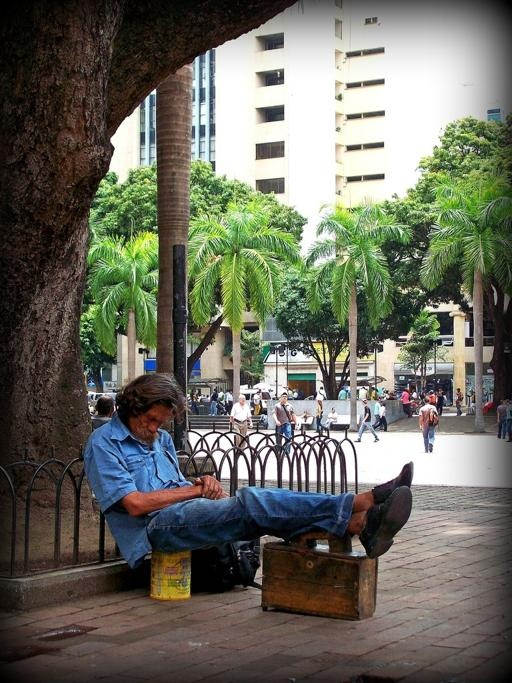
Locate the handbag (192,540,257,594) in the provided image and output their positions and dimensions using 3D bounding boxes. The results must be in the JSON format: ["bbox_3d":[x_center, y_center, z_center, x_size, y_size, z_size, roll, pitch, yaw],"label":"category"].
[{"bbox_3d":[-0.206,1.314,5.537,0.267,0.176,0.366,5,-9,-27],"label":"handbag"}]

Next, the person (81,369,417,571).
[{"bbox_3d":[-0.041,0.641,5.101,1.769,1.251,0.890,1,0,12],"label":"person"}]

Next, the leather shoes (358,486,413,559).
[{"bbox_3d":[0.614,0.871,4.460,0.162,0.435,0.160,24,20,6],"label":"leather shoes"}]

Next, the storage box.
[{"bbox_3d":[0.343,1.206,4.963,0.601,0.421,0.449,3,-2,12],"label":"storage box"}]
